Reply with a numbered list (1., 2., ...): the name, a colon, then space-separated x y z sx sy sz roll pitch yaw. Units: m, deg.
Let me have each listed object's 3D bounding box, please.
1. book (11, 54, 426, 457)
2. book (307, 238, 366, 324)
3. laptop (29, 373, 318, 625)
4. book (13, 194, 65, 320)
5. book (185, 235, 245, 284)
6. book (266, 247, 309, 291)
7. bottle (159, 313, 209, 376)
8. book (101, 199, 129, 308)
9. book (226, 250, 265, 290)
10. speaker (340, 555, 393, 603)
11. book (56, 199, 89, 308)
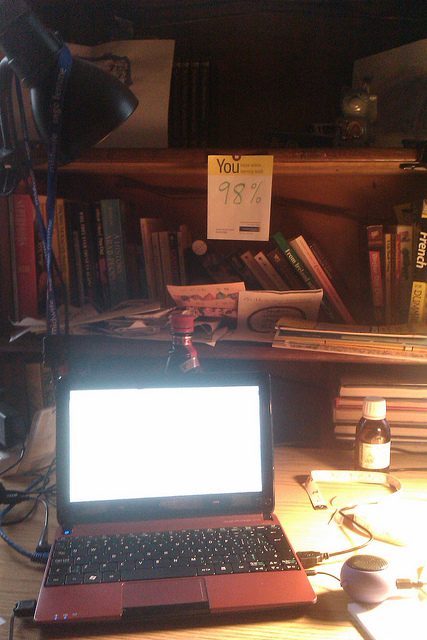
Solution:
1. book: 0.011 -0.124 0.977 0.747 0.727 0.224 1 10 10
2. book: 0.248 -0.085 1.104 0.038 0.163 0.165 -34 -36 10
3. laptop: -0.052 0.213 0.730 0.341 0.206 0.321 -1 9 -14
4. book: -0.365 -0.170 1.094 0.066 0.205 0.203 -5 17 -17
5. book: -0.004 -0.119 1.102 0.111 0.088 0.107 2 18 -13
6. book: 0.147 -0.107 1.054 0.073 0.078 0.085 2 20 10
7. bottle: -0.052 0.040 0.890 0.057 0.097 0.048 -2 7 0
8. book: -0.186 -0.132 1.028 0.044 0.167 0.078 -3 24 -11
9. book: 0.061 -0.095 1.034 0.017 0.071 0.072 -39 -11 1
10. speaker: 0.188 0.315 0.665 0.055 0.039 0.054 -5 8 -22
11. book: -0.243 -0.122 1.022 0.045 0.184 0.088 -6 24 -20
